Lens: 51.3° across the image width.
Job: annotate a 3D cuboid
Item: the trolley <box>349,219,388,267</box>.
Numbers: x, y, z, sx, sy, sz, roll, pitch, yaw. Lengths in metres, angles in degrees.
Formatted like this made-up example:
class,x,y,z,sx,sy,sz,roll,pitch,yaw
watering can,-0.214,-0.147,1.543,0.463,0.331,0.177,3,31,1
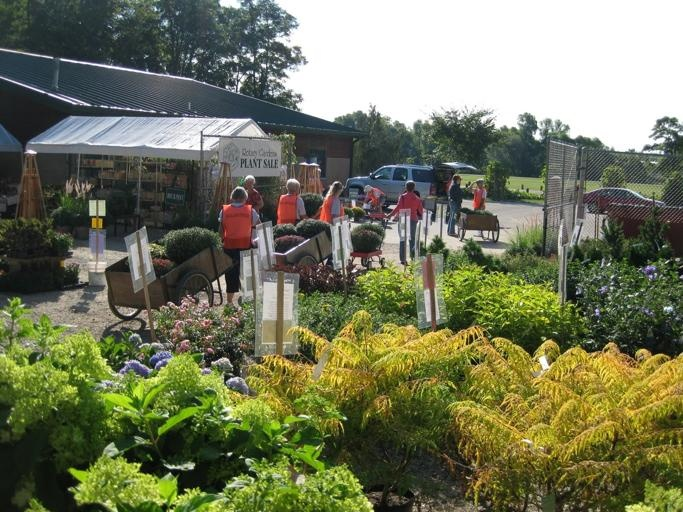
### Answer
class,x,y,z,sx,sy,sz,roll,pitch,yaw
trolley,0.475,-0.172,12.782,0.502,0.907,0.592,2,11,-6

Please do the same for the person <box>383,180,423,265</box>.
class,x,y,z,sx,sy,sz,roll,pitch,yaw
person,1.256,-0.728,14.280,0.550,1.840,0.780,0,0,12

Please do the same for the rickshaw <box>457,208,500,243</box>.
class,x,y,z,sx,sy,sz,roll,pitch,yaw
rickshaw,3.531,-0.957,19.172,0.682,0.764,1.294,3,13,-7

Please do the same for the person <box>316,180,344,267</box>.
class,x,y,z,sx,sy,sz,roll,pitch,yaw
person,-0.122,-0.613,12.329,0.367,1.511,0.472,-1,12,-36

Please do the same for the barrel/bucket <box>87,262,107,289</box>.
class,x,y,z,sx,sy,sz,roll,pitch,yaw
barrel/bucket,-3.923,0.306,11.386,0.215,0.361,0.323,-1,8,-8

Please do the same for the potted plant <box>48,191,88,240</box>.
class,x,y,z,sx,sy,sz,roll,pitch,yaw
potted plant,-6.351,-0.972,16.994,0.955,0.963,0.700,4,3,12

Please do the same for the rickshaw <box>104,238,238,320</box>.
class,x,y,z,sx,sy,sz,roll,pitch,yaw
rickshaw,-2.193,0.223,9.100,0.835,0.828,1.374,8,28,34
